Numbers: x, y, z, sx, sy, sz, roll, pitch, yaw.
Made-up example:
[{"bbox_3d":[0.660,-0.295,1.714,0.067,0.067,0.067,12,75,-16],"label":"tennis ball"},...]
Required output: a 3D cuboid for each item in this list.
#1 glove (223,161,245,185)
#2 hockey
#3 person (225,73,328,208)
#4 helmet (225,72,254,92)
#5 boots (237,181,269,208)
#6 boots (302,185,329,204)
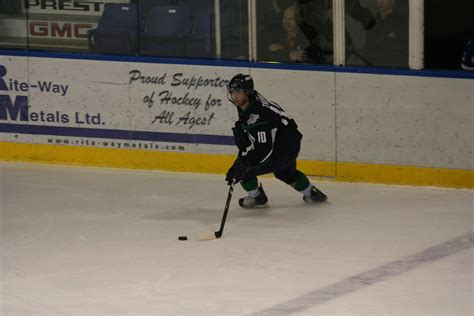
[{"bbox_3d":[-0.016,0.138,6.531,0.187,0.232,0.071,42,13,17],"label":"glove"},{"bbox_3d":[-0.169,0.389,7.151,0.339,0.159,1.164,19,41,8],"label":"hockey"},{"bbox_3d":[0.449,-0.159,7.175,1.447,1.487,0.743,-3,46,6],"label":"person"},{"bbox_3d":[0.036,-0.707,6.543,0.244,0.152,0.166,7,3,-15],"label":"helmet"},{"bbox_3d":[0.124,0.404,7.086,0.405,0.206,0.142,-4,-4,-28],"label":"boots"},{"bbox_3d":[0.813,0.386,7.112,0.380,0.192,0.109,-2,17,6],"label":"boots"}]
